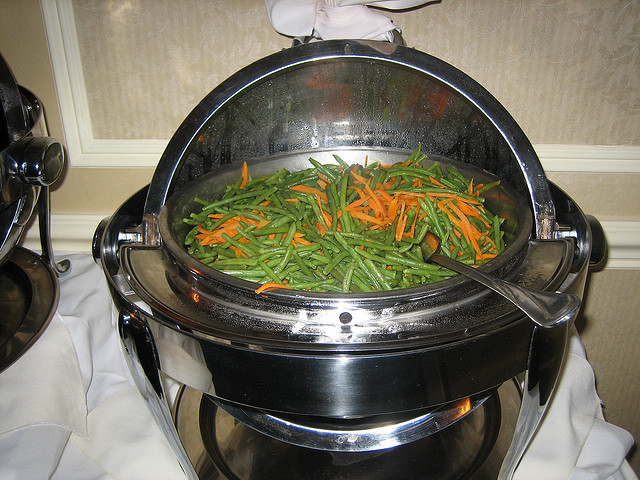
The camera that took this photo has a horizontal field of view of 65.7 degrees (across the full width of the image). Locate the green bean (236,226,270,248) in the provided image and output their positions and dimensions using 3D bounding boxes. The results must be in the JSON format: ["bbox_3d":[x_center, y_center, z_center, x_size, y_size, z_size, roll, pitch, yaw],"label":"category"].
[{"bbox_3d":[-0.133,-0.004,0.969,0.052,0.008,0.012,39,18,16],"label":"green bean"}]

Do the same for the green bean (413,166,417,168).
[{"bbox_3d":[0.216,-0.166,1.126,0.007,0.005,0.007,-2,16,-4],"label":"green bean"}]

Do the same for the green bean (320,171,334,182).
[{"bbox_3d":[0.016,-0.141,1.114,0.008,0.006,0.033,-37,71,-7],"label":"green bean"}]

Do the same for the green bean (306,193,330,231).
[{"bbox_3d":[-0.006,-0.061,1.012,0.024,0.016,0.103,28,30,-48],"label":"green bean"}]

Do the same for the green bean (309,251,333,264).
[{"bbox_3d":[0.002,0.034,0.923,0.049,0.016,0.013,17,18,12],"label":"green bean"}]

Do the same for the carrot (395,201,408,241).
[{"bbox_3d":[0.158,-0.034,0.955,0.017,0.011,0.079,31,46,-19],"label":"carrot"}]

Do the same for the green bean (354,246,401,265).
[{"bbox_3d":[0.107,0.029,0.911,0.048,0.011,0.007,28,42,-2],"label":"green bean"}]

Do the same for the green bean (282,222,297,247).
[{"bbox_3d":[-0.057,-0.007,0.937,0.014,0.007,0.059,24,53,-8],"label":"green bean"}]

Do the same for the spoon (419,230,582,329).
[{"bbox_3d":[0.256,0.058,0.824,0.128,0.073,0.333,-11,22,-31],"label":"spoon"}]

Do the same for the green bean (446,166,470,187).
[{"bbox_3d":[0.305,-0.141,1.089,0.017,0.013,0.075,-20,63,-43],"label":"green bean"}]

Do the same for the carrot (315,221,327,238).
[{"bbox_3d":[0.002,-0.019,0.980,0.007,0.021,0.043,16,20,-29],"label":"carrot"}]

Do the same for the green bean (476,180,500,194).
[{"bbox_3d":[0.345,-0.108,1.025,0.013,0.055,0.015,12,60,-35],"label":"green bean"}]

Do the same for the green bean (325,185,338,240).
[{"bbox_3d":[0.023,-0.059,1.005,0.021,0.013,0.102,-12,57,10],"label":"green bean"}]

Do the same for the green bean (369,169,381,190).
[{"bbox_3d":[0.118,-0.128,1.063,0.008,0.013,0.063,-1,35,28],"label":"green bean"}]

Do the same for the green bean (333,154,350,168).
[{"bbox_3d":[0.051,-0.183,1.157,0.054,0.014,0.006,51,8,18],"label":"green bean"}]

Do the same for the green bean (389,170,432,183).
[{"bbox_3d":[0.201,-0.139,1.090,0.051,0.016,0.011,16,25,12],"label":"green bean"}]

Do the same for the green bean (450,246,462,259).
[{"bbox_3d":[0.262,0.023,0.954,0.010,0.013,0.039,28,56,30],"label":"green bean"}]

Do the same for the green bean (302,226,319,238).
[{"bbox_3d":[-0.017,-0.014,0.967,0.011,0.008,0.046,-45,53,-6],"label":"green bean"}]

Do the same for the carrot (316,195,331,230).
[{"bbox_3d":[0.006,-0.059,1.010,0.012,0.017,0.084,-24,61,9],"label":"carrot"}]

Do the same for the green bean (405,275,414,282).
[{"bbox_3d":[0.165,0.070,0.900,0.018,0.013,0.004,-9,19,-26],"label":"green bean"}]

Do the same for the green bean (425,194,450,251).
[{"bbox_3d":[0.228,-0.043,0.973,0.025,0.017,0.137,-13,75,-22],"label":"green bean"}]

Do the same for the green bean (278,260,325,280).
[{"bbox_3d":[-0.036,0.056,0.905,0.055,0.013,0.014,-23,15,-22],"label":"green bean"}]

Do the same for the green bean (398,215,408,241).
[{"bbox_3d":[0.160,-0.023,0.956,0.011,0.057,0.008,26,-18,-12],"label":"green bean"}]

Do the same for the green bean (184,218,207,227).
[{"bbox_3d":[-0.253,-0.036,1.000,0.026,0.007,0.006,20,21,-28],"label":"green bean"}]

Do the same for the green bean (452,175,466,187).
[{"bbox_3d":[0.306,-0.128,1.086,0.003,0.007,0.051,23,20,-23],"label":"green bean"}]

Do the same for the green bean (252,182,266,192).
[{"bbox_3d":[-0.129,-0.116,1.089,0.009,0.012,0.044,-6,17,36],"label":"green bean"}]

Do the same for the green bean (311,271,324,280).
[{"bbox_3d":[-0.003,0.065,0.909,0.004,0.005,0.028,-43,46,-8],"label":"green bean"}]

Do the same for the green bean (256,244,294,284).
[{"bbox_3d":[-0.080,0.039,0.925,0.028,0.014,0.112,36,66,-4],"label":"green bean"}]

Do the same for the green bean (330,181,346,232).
[{"bbox_3d":[0.032,-0.070,1.023,0.020,0.016,0.112,-8,59,-12],"label":"green bean"}]

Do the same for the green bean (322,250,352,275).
[{"bbox_3d":[0.034,0.043,0.909,0.049,0.012,0.012,-41,58,-20],"label":"green bean"}]

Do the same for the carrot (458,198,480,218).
[{"bbox_3d":[0.305,-0.057,1.011,0.034,0.012,0.042,-22,54,-28],"label":"carrot"}]

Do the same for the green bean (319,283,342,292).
[{"bbox_3d":[0.018,0.084,0.872,0.027,0.007,0.008,13,47,-9],"label":"green bean"}]

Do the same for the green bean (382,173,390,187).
[{"bbox_3d":[0.147,-0.133,1.093,0.005,0.008,0.035,15,54,21],"label":"green bean"}]
